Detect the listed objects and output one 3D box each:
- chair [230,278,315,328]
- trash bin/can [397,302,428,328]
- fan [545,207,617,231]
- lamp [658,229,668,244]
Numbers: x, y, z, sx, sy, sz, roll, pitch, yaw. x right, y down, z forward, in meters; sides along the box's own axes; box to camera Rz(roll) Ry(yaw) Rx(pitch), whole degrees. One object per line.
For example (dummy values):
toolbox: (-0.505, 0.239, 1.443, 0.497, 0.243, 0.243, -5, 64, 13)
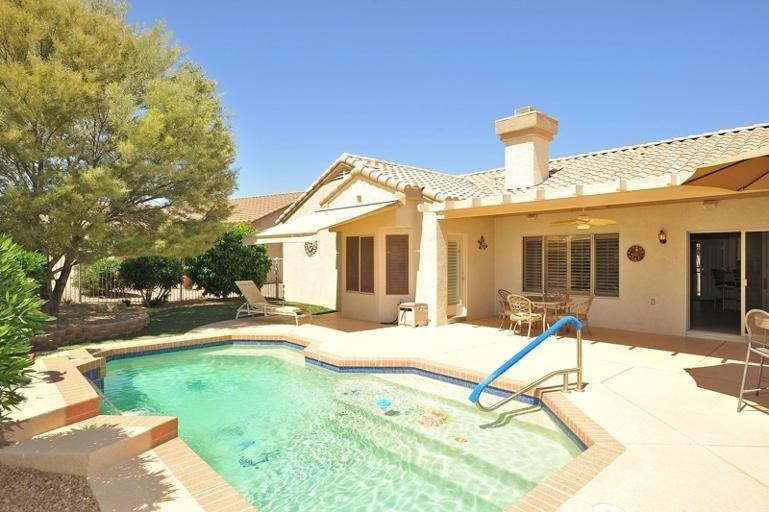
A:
chair: (-5.904, 2.449, 24.226, 3.980, 1.703, 1.696, 5, 5, 26)
trash bin/can: (1.458, 2.926, 23.151, 1.333, 0.983, 1.286, -1, 3, -41)
fan: (8.825, -1.590, 20.279, 2.102, 0.689, 1.896, 1, 1, -13)
lamp: (12.746, -0.899, 20.821, 0.382, 0.694, 0.219, -1, -4, 25)
